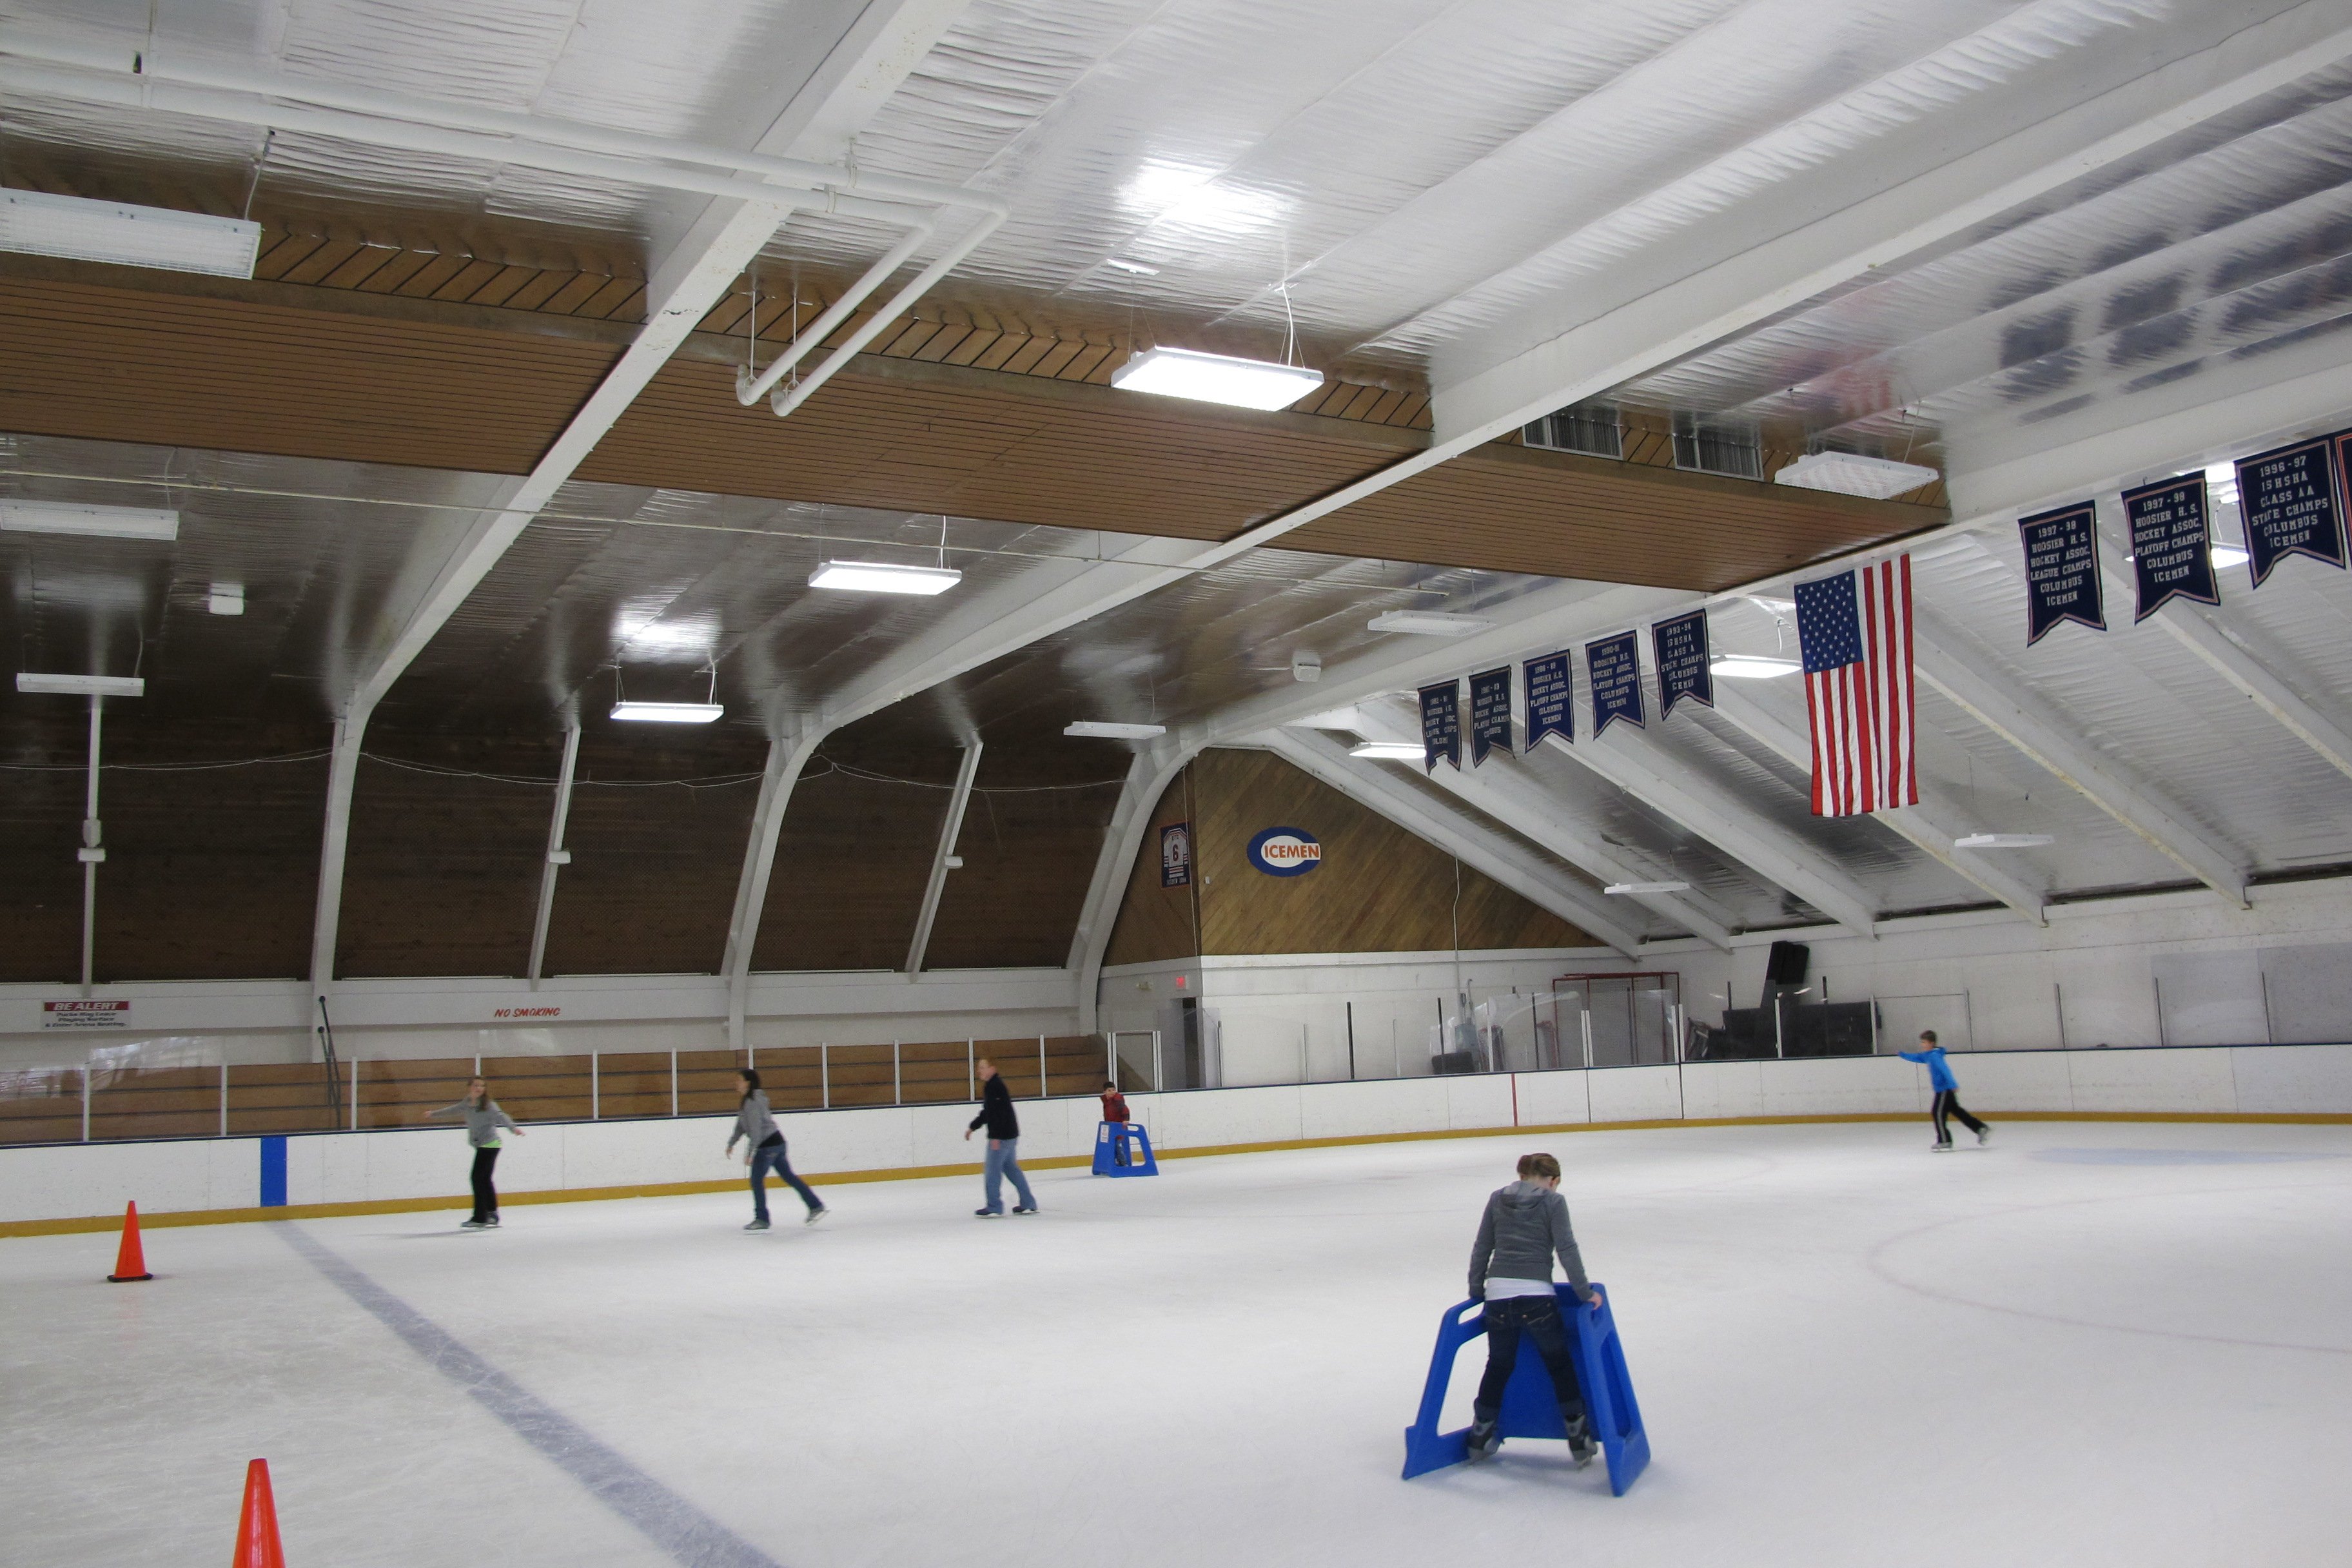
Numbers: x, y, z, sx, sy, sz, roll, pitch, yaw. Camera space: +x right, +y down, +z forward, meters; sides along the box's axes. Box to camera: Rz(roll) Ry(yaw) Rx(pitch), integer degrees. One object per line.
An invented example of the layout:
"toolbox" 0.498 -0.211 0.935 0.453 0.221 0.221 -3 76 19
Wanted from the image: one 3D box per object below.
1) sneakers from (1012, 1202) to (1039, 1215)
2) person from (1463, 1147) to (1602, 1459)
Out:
"sneakers" -1.855 5.158 21.416 0.116 0.105 0.341 3 -4 -43
"person" 1.952 2.973 9.957 0.857 1.691 0.490 -11 -9 20
